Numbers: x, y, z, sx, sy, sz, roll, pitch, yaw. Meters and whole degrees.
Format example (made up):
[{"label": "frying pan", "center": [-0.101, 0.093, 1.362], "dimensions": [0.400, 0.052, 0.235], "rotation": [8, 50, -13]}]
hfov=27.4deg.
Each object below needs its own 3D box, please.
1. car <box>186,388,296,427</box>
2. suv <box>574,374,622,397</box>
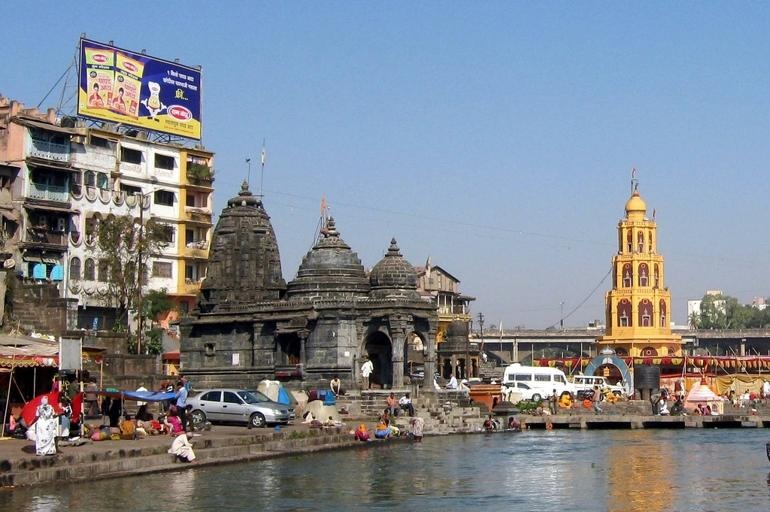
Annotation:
[{"label": "car", "center": [-7.654, 7.840, 81.662], "dimensions": [5.143, 1.589, 2.174], "rotation": [-2, -4, 19]}, {"label": "suv", "center": [13.779, 8.303, 102.503], "dimensions": [2.414, 1.148, 1.460], "rotation": [-1, -3, 3]}]
